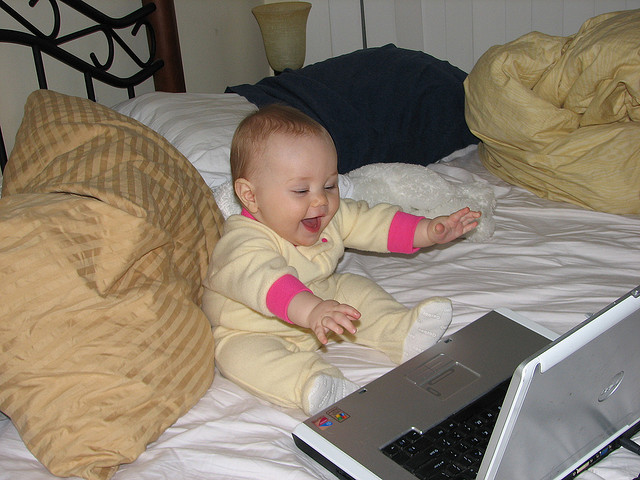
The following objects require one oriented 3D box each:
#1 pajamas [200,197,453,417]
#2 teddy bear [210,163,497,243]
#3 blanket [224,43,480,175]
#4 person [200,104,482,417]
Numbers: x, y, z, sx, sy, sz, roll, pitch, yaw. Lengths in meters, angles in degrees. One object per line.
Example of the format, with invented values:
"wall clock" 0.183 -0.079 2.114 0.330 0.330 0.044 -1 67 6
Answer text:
"pajamas" 0.040 0.133 1.302 0.512 0.590 0.511 19 46 27
"teddy bear" 0.191 -0.064 1.650 0.625 0.176 0.359 6 33 6
"blanket" 0.203 -0.535 2.077 0.878 0.248 0.589 -21 49 -21
"person" -0.030 0.060 1.359 0.595 0.748 0.685 23 26 27
